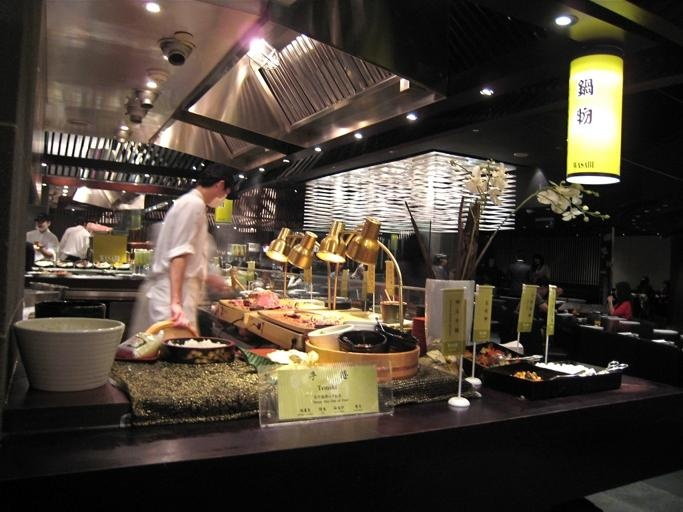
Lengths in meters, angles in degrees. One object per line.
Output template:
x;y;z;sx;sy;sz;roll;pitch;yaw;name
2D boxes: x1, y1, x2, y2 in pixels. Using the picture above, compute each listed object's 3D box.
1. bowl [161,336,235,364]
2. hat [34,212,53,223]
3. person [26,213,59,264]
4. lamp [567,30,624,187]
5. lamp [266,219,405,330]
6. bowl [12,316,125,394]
-0.548;0.360;1.889;0.274;0.086;0.163;4;0;-18;bowl
-3.957;-0.496;6.487;0.191;0.117;0.251;-3;11;-25;hat
-3.996;-0.259;6.609;0.375;0.553;1.044;4;0;-30;person
1.426;-0.792;2.787;0.313;0.811;0.214;5;0;15;lamp
-0.025;0.149;3.791;0.394;0.529;0.967;-3;1;-34;lamp
-0.944;0.339;1.714;0.348;0.194;0.336;4;0;0;bowl
